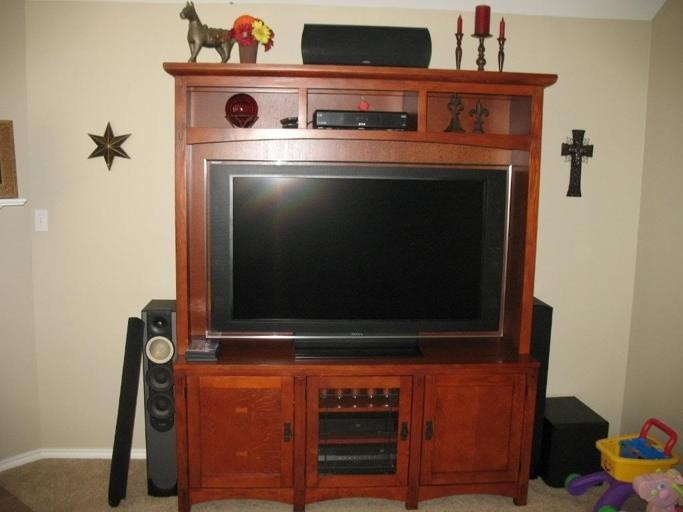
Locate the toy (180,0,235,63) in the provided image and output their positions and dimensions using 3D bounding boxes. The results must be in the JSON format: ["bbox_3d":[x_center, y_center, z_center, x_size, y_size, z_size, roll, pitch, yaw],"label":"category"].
[{"bbox_3d":[-0.784,-1.297,3.730,0.298,0.350,0.180,-7,12,-37],"label":"toy"}]

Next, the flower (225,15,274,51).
[{"bbox_3d":[-0.528,-1.318,3.741,0.247,0.186,0.112,-2,9,-11],"label":"flower"}]

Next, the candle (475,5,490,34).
[{"bbox_3d":[0.839,-1.399,3.781,0.084,0.200,0.178,2,9,10],"label":"candle"}]

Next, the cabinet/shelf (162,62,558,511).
[{"bbox_3d":[0.079,0.227,3.833,2.636,3.050,0.841,0,5,-4],"label":"cabinet/shelf"}]

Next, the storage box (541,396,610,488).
[{"bbox_3d":[1.412,1.231,4.196,0.453,0.485,0.459,-6,1,-5],"label":"storage box"}]

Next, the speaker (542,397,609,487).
[{"bbox_3d":[1.429,1.147,4.124,0.450,0.485,0.473,-4,5,3],"label":"speaker"}]
